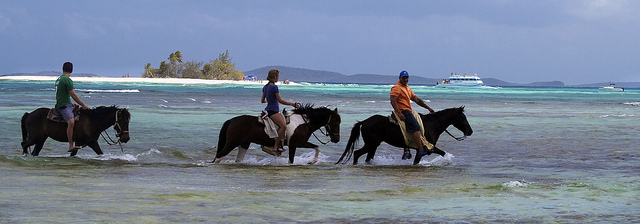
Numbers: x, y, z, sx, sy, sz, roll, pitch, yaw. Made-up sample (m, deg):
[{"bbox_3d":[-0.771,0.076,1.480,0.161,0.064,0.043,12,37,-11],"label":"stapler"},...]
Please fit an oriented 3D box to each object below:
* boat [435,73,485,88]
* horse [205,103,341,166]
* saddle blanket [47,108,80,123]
[{"bbox_3d":[50.419,-11.237,169.675,3.787,4.655,13.109,2,1,-39],"label":"boat"},{"bbox_3d":[-3.277,1.658,30.798,9.989,2.935,1.621,-3,-15,14],"label":"horse"},{"bbox_3d":[-16.313,0.260,30.055,1.786,0.375,0.982,3,2,-13],"label":"saddle blanket"}]
